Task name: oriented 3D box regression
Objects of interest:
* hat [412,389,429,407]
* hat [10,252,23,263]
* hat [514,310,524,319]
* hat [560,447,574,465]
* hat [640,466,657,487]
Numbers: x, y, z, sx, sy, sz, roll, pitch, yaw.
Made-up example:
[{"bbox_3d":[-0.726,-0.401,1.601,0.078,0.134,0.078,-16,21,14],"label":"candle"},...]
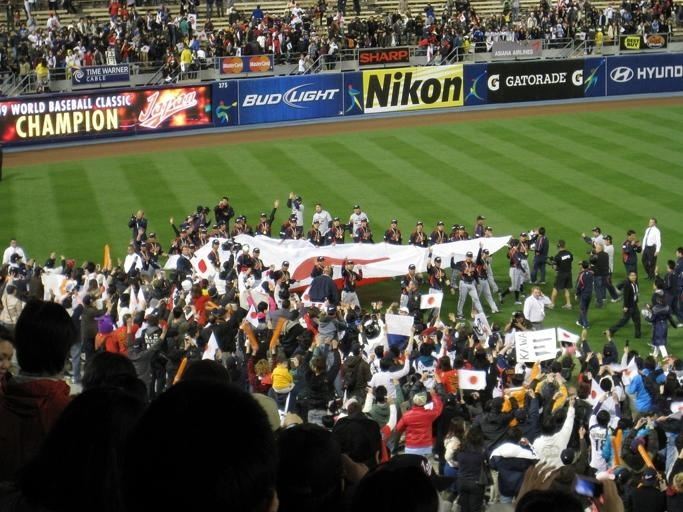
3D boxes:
[{"bbox_3d":[1.320,2.327,15.133,0.231,0.244,0.366,0,9,5],"label":"hat"},{"bbox_3d":[-8.328,0.057,23.596,0.282,0.104,0.220,-14,38,-16],"label":"hat"},{"bbox_3d":[3.970,1.299,20.524,0.175,0.119,0.254,4,1,16],"label":"hat"},{"bbox_3d":[3.374,2.961,13.670,0.236,0.204,0.376,-7,-35,5],"label":"hat"},{"bbox_3d":[4.570,3.236,13.620,0.168,0.182,0.272,2,25,10],"label":"hat"}]
